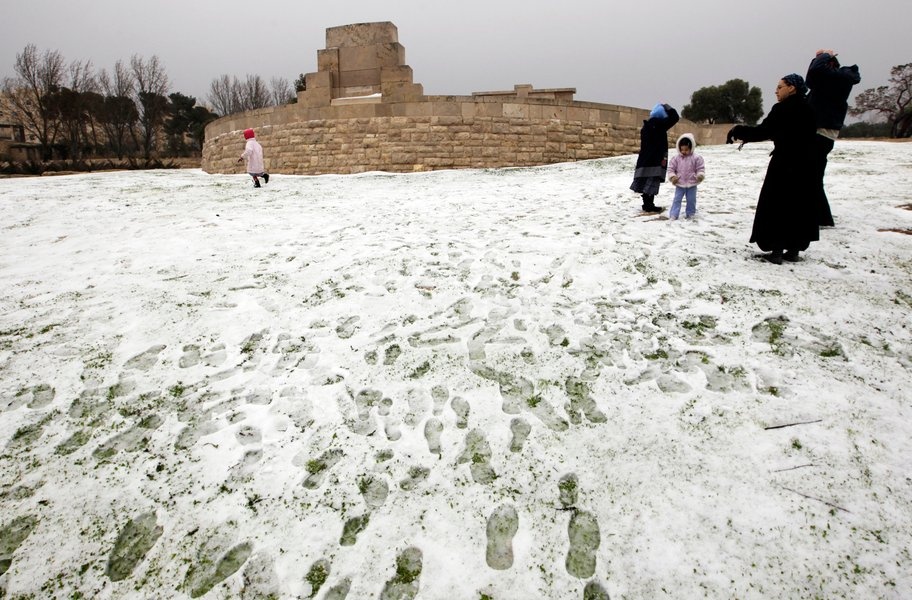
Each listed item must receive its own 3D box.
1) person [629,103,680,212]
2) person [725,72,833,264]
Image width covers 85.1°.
[{"bbox_3d":[2.770,-1.974,6.940,0.555,1.349,0.701,-3,14,1],"label":"person"},{"bbox_3d":[3.395,-1.196,5.153,0.667,1.561,0.490,3,23,13],"label":"person"}]
